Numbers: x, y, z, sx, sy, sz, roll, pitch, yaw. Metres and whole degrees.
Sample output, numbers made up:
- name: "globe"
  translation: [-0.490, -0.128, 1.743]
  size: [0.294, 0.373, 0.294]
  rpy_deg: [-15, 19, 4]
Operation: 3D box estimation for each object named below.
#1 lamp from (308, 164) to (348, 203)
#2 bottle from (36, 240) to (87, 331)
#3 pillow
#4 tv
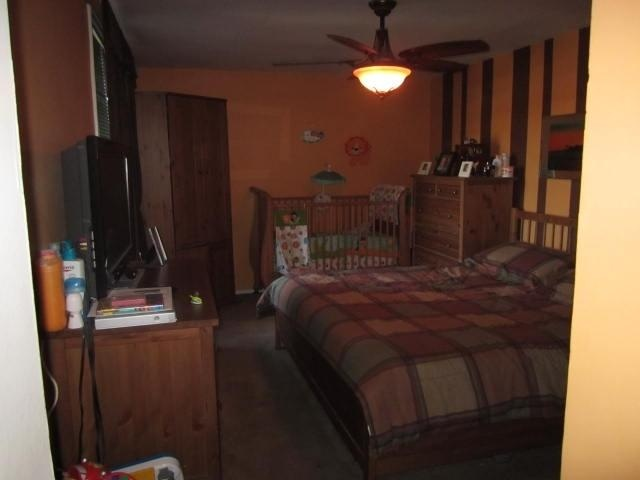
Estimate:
- name: "lamp"
  translation: [0.083, -0.615, 5.486]
  size: [0.380, 0.424, 0.406]
  rpy_deg: [4, 7, 24]
- name: "bottle"
  translation: [-0.943, 0.181, 1.897]
  size: [0.113, 0.314, 0.190]
  rpy_deg: [0, 13, 7]
- name: "pillow"
  translation: [1.485, 0.173, 3.689]
  size: [0.401, 0.156, 0.625]
  rpy_deg: [-12, 17, -20]
- name: "tv"
  translation: [-0.936, -0.086, 2.136]
  size: [0.215, 0.566, 0.630]
  rpy_deg: [-4, 15, -10]
